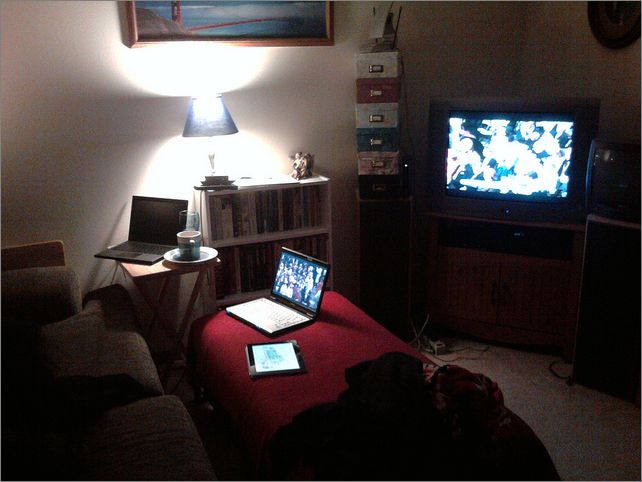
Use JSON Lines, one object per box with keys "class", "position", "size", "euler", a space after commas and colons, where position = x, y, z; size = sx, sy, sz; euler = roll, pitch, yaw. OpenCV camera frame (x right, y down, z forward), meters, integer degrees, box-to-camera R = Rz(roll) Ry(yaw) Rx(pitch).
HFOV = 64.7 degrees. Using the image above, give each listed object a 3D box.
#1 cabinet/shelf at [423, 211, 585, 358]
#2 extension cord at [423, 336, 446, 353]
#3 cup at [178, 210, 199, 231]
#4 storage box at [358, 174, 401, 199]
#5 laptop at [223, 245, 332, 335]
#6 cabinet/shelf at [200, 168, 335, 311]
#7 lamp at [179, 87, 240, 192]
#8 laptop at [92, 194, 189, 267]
{"class": "cabinet/shelf", "position": [1.369, 0.311, 3.734], "size": [1.030, 0.945, 0.426], "euler": [6, 11, 32]}
{"class": "extension cord", "position": [0.821, 0.735, 3.669], "size": [0.120, 0.044, 0.074], "euler": [24, 17, 40]}
{"class": "cup", "position": [-0.790, -0.129, 3.035], "size": [0.135, 0.141, 0.133], "euler": [1, 7, 0]}
{"class": "storage box", "position": [0.418, -0.389, 3.583], "size": [0.293, 0.185, 0.159], "euler": [-1, 11, 2]}
{"class": "laptop", "position": [-0.248, 0.258, 2.797], "size": [0.577, 0.299, 0.604], "euler": [-1, 14, -5]}
{"class": "cabinet/shelf", "position": [-0.438, 0.028, 3.611], "size": [0.940, 0.891, 0.402], "euler": [-8, 17, -31]}
{"class": "lamp", "position": [-0.732, -0.663, 3.324], "size": [0.335, 0.581, 0.402], "euler": [-2, 13, -14]}
{"class": "laptop", "position": [-1.183, -0.101, 3.305], "size": [0.570, 0.316, 0.576], "euler": [-2, -4, -13]}
